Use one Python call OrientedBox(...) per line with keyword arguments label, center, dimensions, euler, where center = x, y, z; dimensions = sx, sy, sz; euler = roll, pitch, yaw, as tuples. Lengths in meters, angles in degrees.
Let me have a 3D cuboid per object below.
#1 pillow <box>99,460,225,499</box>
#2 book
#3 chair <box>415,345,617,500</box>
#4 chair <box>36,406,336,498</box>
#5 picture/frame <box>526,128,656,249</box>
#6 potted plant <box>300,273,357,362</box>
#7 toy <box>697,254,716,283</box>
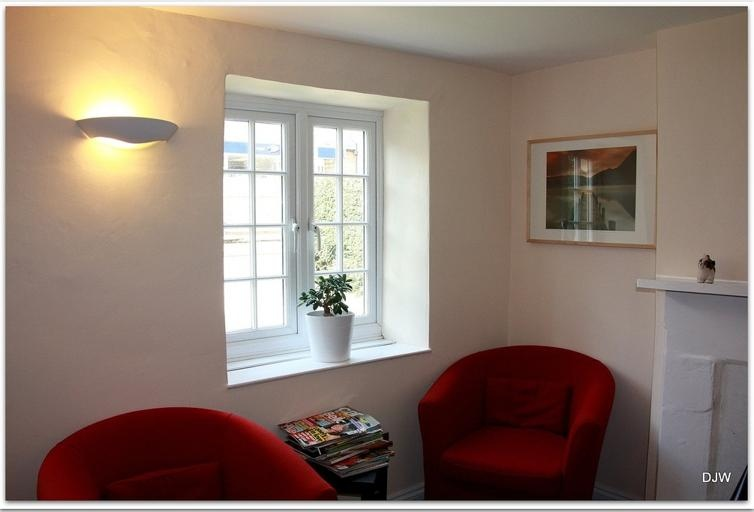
OrientedBox(label="pillow", center=(-1.000, 1.098, 2.417), dimensions=(0.317, 0.088, 0.230), euler=(-4, -8, 1))
OrientedBox(label="book", center=(-0.215, 1.087, 2.947), dimensions=(0.415, 0.137, 0.377), euler=(-2, 6, -44))
OrientedBox(label="chair", center=(0.902, 1.155, 3.314), dimensions=(1.200, 0.970, 1.105), euler=(-2, -2, 15))
OrientedBox(label="chair", center=(-0.877, 1.001, 2.362), dimensions=(1.150, 0.427, 0.489), euler=(-1, 6, -6))
OrientedBox(label="picture/frame", center=(1.491, -0.457, 3.575), dimensions=(0.036, 0.766, 0.947), euler=(-12, 12, -35))
OrientedBox(label="potted plant", center=(-0.369, 0.407, 3.396), dimensions=(0.402, 0.565, 0.320), euler=(4, 8, 39))
OrientedBox(label="toy", center=(1.908, 0.076, 2.935), dimensions=(0.075, 0.159, 0.096), euler=(4, 8, 39))
